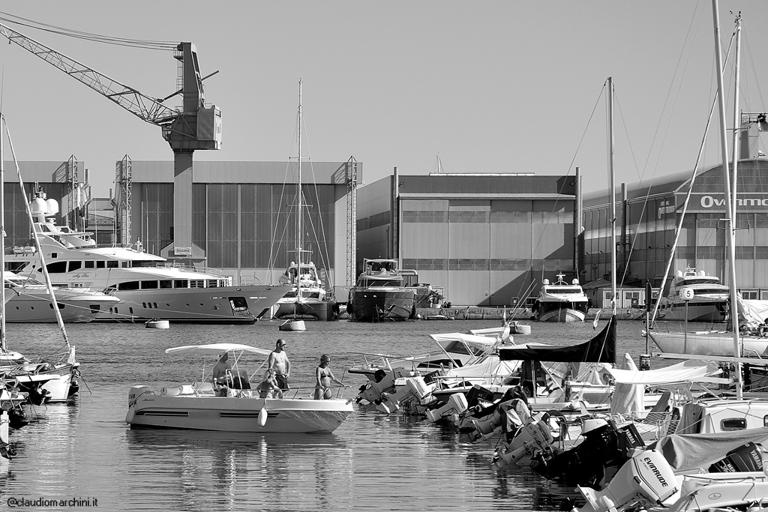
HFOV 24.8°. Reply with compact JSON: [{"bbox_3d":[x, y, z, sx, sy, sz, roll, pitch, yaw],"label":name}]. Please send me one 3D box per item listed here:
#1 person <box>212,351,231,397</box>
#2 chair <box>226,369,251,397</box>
[{"bbox_3d":[-7.500,5.317,79.097,0.605,1.854,0.703,4,-10,42],"label":"person"},{"bbox_3d":[-6.644,5.791,79.159,1.020,1.300,1.240,1,-3,-9],"label":"chair"}]
